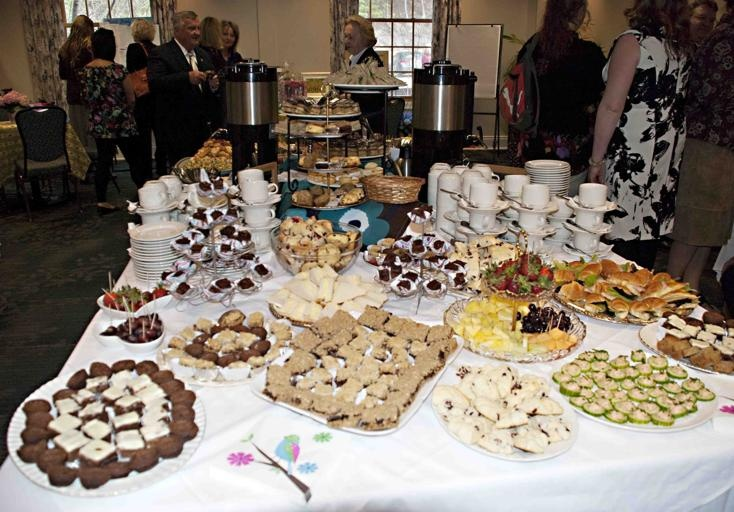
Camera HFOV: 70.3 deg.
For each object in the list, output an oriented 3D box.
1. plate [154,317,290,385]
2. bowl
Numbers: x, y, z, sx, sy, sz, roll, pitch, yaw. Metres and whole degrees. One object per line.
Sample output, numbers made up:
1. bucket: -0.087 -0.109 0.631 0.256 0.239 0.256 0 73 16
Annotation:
1. plate: -0.411 0.288 1.573 0.224 0.040 0.219 -12 27 -26
2. bowl: -0.210 -0.047 2.064 0.264 0.130 0.259 1 12 0
